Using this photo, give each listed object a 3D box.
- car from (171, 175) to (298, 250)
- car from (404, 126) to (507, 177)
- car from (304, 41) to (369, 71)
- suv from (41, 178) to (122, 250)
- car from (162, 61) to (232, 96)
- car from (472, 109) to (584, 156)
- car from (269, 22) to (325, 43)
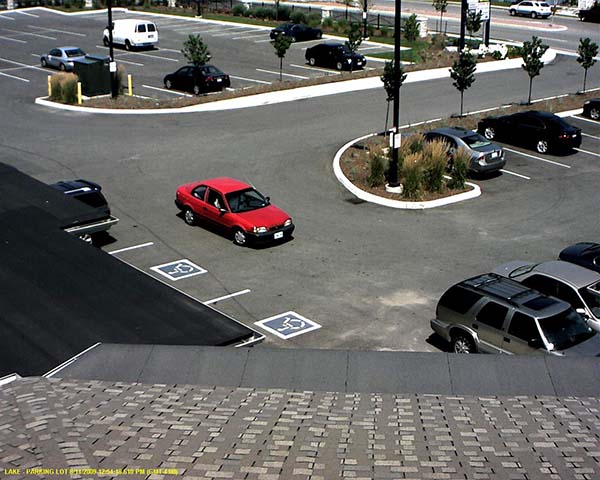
[{"bbox_3d":[-1.995,-0.984,19.820,3.758,1.102,1.733,21,31,38],"label":"car"},{"bbox_3d":[5.875,-3.398,25.048,1.507,1.014,3.164,-17,29,-29],"label":"car"},{"bbox_3d":[1.990,-11.536,42.165,4.255,1.295,1.955,16,31,37],"label":"car"},{"bbox_3d":[-5.281,-0.580,16.271,2.364,1.142,1.422,34,41,30],"label":"suv"},{"bbox_3d":[-5.704,-8.841,36.686,3.545,1.013,1.677,14,26,33],"label":"car"},{"bbox_3d":[9.513,-4.591,27.769,4.350,1.233,1.932,20,28,39],"label":"car"},{"bbox_3d":[-0.116,-15.632,50.480,3.278,1.248,5.323,1,20,6],"label":"car"}]
